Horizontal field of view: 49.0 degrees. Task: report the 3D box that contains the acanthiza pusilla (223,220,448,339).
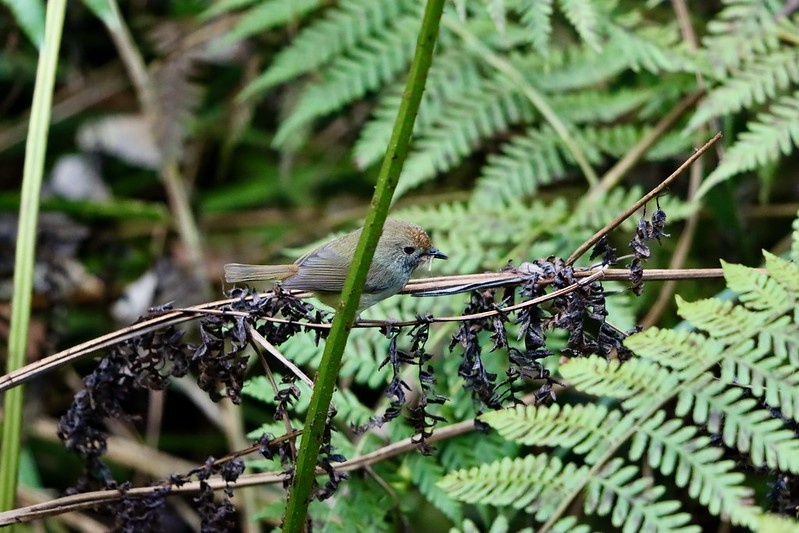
[{"bbox_3d":[-0.315,0.013,4.340,0.996,0.477,0.364,3,15,2],"label":"acanthiza pusilla"}]
